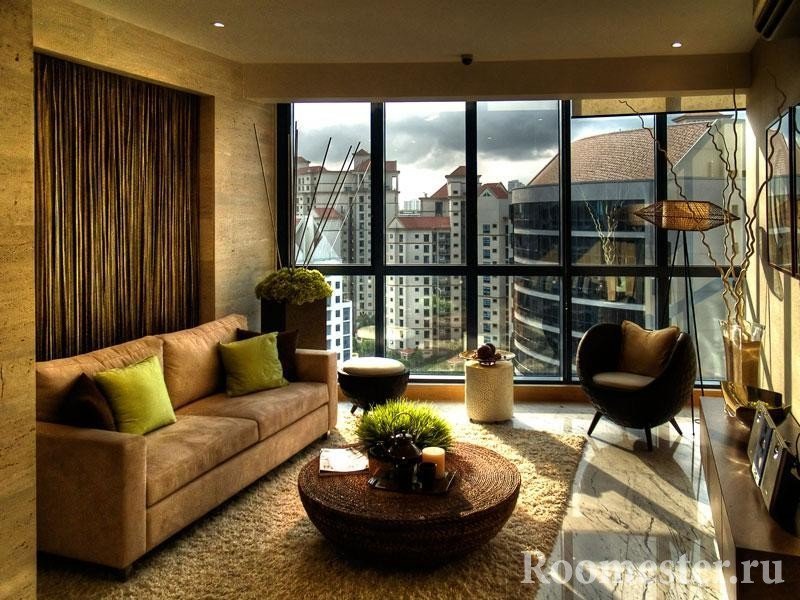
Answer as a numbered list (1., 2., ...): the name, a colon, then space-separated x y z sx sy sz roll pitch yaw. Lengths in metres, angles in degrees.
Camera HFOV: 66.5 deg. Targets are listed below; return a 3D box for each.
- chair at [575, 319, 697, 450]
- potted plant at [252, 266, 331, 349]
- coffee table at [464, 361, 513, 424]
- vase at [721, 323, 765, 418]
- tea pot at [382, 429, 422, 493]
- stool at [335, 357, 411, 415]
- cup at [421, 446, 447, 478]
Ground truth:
1. chair: 1.946 0.615 5.178 0.897 1.122 0.992 8 -7 -36
2. potted plant: -0.933 0.048 5.919 0.791 1.012 0.739 0 0 -7
3. coffee table: 0.812 0.809 5.637 0.467 0.566 0.493 0 1 38
4. vase: 2.682 0.499 4.760 0.317 0.630 0.290 1 -6 8
5. tea pot: 0.017 0.919 3.470 0.235 0.372 0.245 -1 -6 0
6. stool: -0.228 0.702 5.257 0.460 0.435 0.476 1 -2 -11
7. cup: 0.201 0.911 3.483 0.144 0.173 0.149 -2 -2 0
